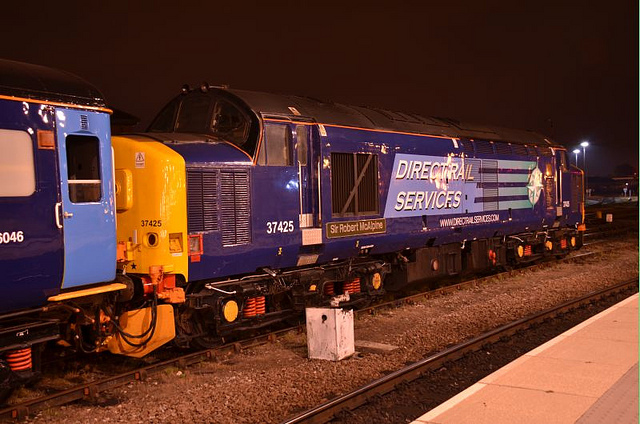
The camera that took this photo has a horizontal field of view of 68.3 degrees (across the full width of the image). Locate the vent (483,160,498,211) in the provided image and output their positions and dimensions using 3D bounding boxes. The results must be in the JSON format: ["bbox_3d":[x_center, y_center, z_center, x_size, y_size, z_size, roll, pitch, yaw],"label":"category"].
[{"bbox_3d":[5.354,-0.758,14.979,0.125,1.637,0.878,-10,10,-31],"label":"vent"}]

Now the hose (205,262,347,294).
[{"bbox_3d":[-0.987,1.436,10.050,3.193,0.301,0.249,-3,2,-43],"label":"hose"}]

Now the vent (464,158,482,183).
[{"bbox_3d":[4.643,-1.225,14.201,0.194,0.696,0.899,0,2,40],"label":"vent"}]

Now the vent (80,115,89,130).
[{"bbox_3d":[-3.643,-1.387,7.266,0.042,0.171,0.186,-2,0,21],"label":"vent"}]
